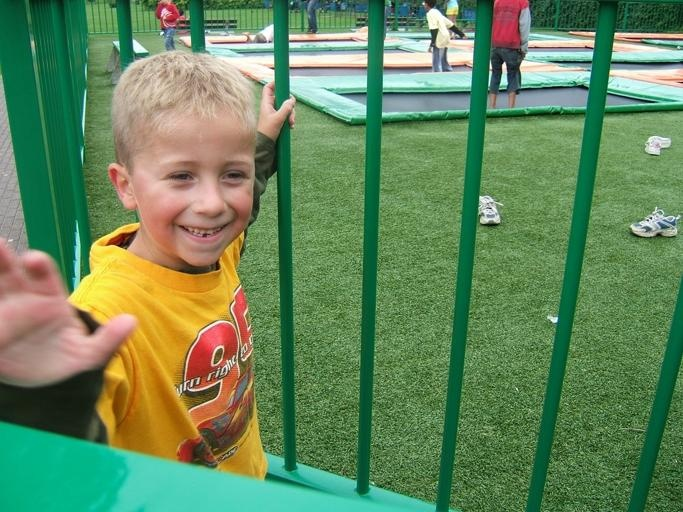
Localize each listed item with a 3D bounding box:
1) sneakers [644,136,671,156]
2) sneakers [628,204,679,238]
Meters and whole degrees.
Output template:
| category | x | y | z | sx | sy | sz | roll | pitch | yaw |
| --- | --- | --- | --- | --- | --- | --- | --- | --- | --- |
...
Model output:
| category | x | y | z | sx | sy | sz | roll | pitch | yaw |
| --- | --- | --- | --- | --- | --- | --- | --- | --- | --- |
| sneakers | 3.059 | -1.042 | 5.771 | 0.279 | 0.214 | 0.073 | 23 | -20 | -9 |
| sneakers | 2.080 | -0.239 | 3.984 | 0.384 | 0.236 | 0.164 | 1 | 18 | 5 |
